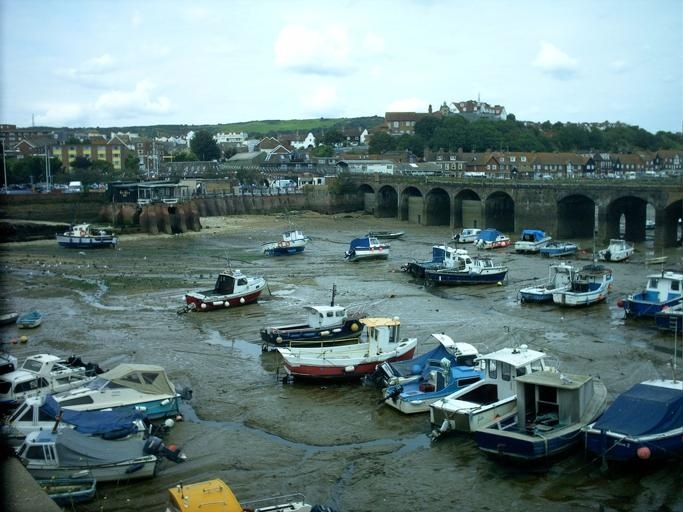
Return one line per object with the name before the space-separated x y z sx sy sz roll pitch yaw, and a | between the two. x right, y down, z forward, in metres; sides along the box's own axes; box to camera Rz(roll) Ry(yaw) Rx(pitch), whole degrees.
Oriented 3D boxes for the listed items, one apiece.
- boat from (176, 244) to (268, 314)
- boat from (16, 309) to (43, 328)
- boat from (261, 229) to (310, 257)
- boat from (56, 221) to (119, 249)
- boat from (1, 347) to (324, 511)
boat | -4.688 1.181 32.081 3.832 2.009 1.584 -8 19 -43
boat | -11.486 2.280 29.705 0.448 0.238 1.224 3 10 -8
boat | -3.119 -0.724 46.221 1.444 0.758 2.177 6 12 37
boat | -15.225 -1.235 48.539 4.493 1.602 1.623 0 -3 3
boat | -4.523 4.437 20.369 6.875 2.354 1.557 11 19 25
